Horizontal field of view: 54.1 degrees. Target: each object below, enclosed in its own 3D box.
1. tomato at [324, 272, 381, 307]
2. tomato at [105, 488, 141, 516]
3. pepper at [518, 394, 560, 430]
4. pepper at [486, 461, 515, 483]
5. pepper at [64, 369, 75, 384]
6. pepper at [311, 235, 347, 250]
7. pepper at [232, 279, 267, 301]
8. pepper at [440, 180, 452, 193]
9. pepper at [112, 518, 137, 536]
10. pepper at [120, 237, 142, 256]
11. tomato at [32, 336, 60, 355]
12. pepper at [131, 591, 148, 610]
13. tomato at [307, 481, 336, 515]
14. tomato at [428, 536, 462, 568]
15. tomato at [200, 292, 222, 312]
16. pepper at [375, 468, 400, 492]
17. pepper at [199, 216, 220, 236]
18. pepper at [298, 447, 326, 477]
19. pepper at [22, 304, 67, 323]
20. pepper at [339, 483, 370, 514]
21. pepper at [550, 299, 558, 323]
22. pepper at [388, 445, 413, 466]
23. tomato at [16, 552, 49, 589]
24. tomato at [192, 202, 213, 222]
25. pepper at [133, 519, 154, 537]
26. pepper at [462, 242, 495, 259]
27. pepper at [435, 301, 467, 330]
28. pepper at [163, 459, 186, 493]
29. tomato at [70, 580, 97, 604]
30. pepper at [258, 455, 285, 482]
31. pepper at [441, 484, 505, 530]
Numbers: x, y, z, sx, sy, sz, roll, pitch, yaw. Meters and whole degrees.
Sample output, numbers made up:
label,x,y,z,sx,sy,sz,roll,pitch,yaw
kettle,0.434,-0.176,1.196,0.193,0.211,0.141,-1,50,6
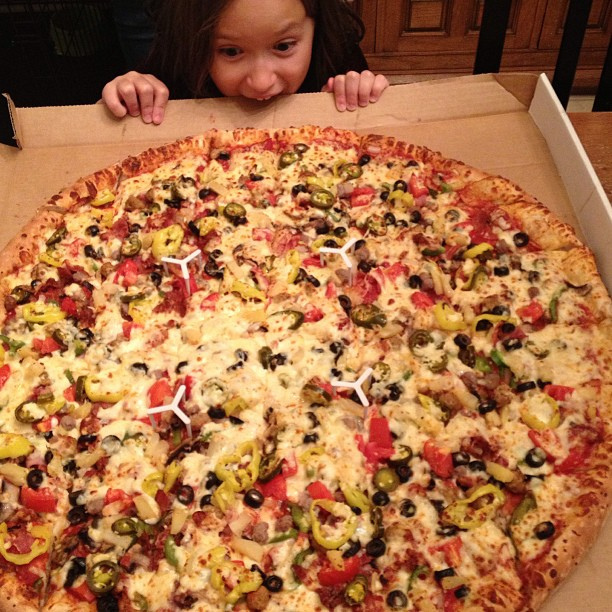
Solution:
label,x,y,z,sx,sy,sz,roll,pitch,yaw
tomato,0.292,-0.102,3.732,0.305,0.068,0.197,0,59,16
tomato,-0.919,0.968,2.988,0.168,0.057,0.112,9,47,11
pepper,1.251,0.569,3.176,0.205,0.079,0.168,-21,48,-18
pepper,0.963,0.821,2.976,0.124,0.035,0.065,31,73,23
pepper,-1.369,0.407,3.493,0.036,0.015,0.109,-27,64,-30
pepper,0.151,-0.431,3.970,0.164,0.036,0.116,-18,39,-28
pepper,-0.363,-0.101,3.774,0.254,0.075,0.085,32,92,17
pepper,1.045,-0.890,4.477,0.105,0.042,0.096,-8,57,-30
pepper,-0.867,1.057,2.884,0.086,0.052,0.086,-1,46,-19
pepper,-1.169,-0.404,4.018,0.156,0.052,0.133,-21,52,11
tomato,-1.548,0.231,3.586,0.145,0.042,0.109,8,36,-10
pepper,-0.747,1.330,2.714,0.048,0.016,0.073,-18,42,-31
tomato,0.084,0.897,2.821,0.094,0.042,0.163,-34,61,-22
tomato,0.657,1.115,2.709,0.164,0.039,0.119,-17,47,-14
tomato,-0.587,-0.031,3.745,0.105,0.028,0.123,14,46,30
pepper,0.403,0.861,2.971,0.114,0.063,0.115,16,49,17
pepper,-0.656,-0.544,4.009,0.114,0.037,0.127,15,46,5
pepper,0.022,0.766,3.004,0.106,0.046,0.169,18,48,19
pepper,-1.620,0.046,3.719,0.200,0.044,0.126,11,36,2
pepper,0.247,0.919,2.882,0.154,0.035,0.091,41,48,17
pepper,1.499,0.029,3.636,0.039,0.027,0.145,-2,62,11
pepper,0.482,0.749,3.024,0.102,0.033,0.086,-8,50,28
tomato,-1.305,1.253,2.853,0.129,0.040,0.141,11,67,17
tomato,-0.718,-0.664,4.182,0.134,0.036,0.128,34,54,15
pepper,-0.779,1.066,2.894,0.056,0.026,0.083,-37,60,-23
pepper,1.095,-0.357,3.843,0.161,0.046,0.089,-29,41,-11
pepper,0.852,0.041,3.538,0.156,0.052,0.175,-2,44,-20
pepper,-0.681,0.854,3.022,0.092,0.051,0.144,20,73,45
tomato,-1.022,1.321,2.764,0.077,0.071,0.107,-33,53,-24
pepper,-0.166,0.798,3.001,0.110,0.045,0.134,15,51,35
pepper,0.817,0.966,2.863,0.323,0.072,0.177,-28,31,-9
